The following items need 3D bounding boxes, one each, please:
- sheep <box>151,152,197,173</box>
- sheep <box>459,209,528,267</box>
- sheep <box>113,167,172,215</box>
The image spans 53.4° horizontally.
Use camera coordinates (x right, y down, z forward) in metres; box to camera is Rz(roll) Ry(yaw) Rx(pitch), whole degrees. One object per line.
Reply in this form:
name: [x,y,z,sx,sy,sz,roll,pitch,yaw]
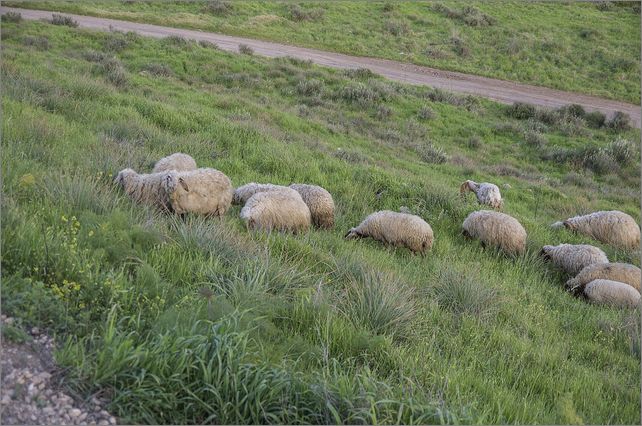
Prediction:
sheep: [-5.624,-2.024,25.278,0.835,0.821,1.446,62,23,-4]
sheep: [7.206,0.814,26.947,2.759,2.091,1.325,25,37,28]
sheep: [-6.518,-1.099,23.878,2.317,1.454,0.822,25,21,10]
